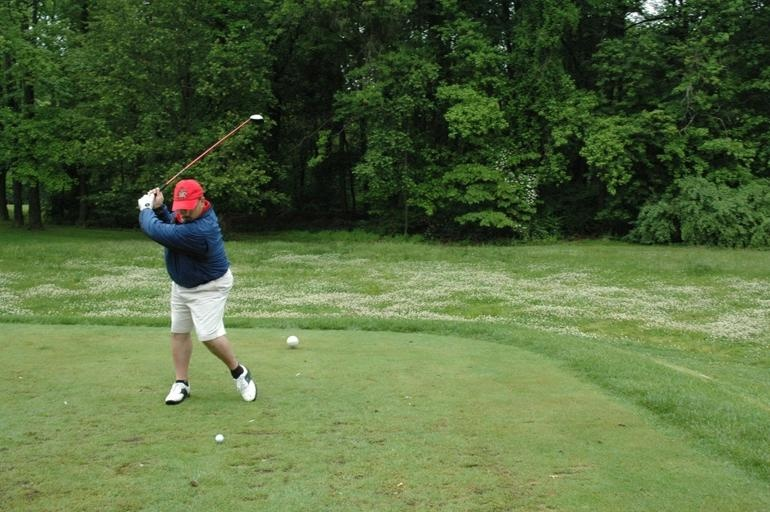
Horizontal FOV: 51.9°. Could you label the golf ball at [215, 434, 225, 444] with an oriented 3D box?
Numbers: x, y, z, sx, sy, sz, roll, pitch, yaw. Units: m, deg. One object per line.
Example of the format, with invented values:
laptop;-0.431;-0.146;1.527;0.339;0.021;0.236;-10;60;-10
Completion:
golf ball;-3.605;3.884;16.756;0.189;0.084;0.185;2;20;-1
